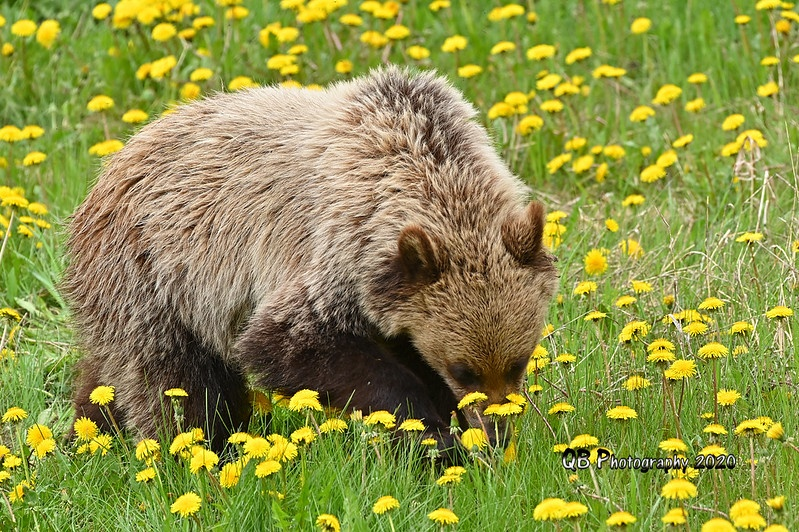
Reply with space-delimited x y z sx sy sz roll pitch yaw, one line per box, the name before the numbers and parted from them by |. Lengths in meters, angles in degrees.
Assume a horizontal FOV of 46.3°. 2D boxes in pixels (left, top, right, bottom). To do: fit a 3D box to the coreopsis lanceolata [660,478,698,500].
coreopsis lanceolata | 1.372 1.108 4.616 0.143 0.104 0.229 -8 1 8
